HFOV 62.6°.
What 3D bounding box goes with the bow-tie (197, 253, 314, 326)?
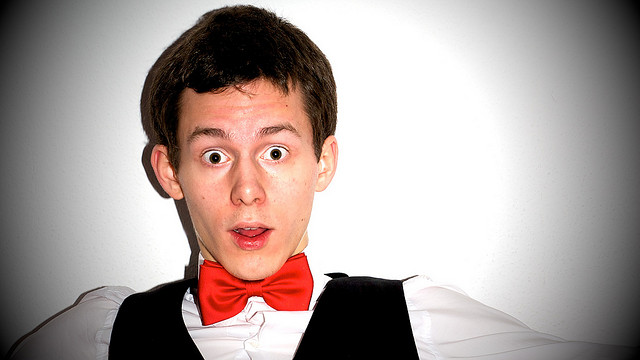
[{"bbox_3d":[-0.387,0.653,3.176,0.533,0.303,0.052,-3,19,3],"label":"bow-tie"}]
